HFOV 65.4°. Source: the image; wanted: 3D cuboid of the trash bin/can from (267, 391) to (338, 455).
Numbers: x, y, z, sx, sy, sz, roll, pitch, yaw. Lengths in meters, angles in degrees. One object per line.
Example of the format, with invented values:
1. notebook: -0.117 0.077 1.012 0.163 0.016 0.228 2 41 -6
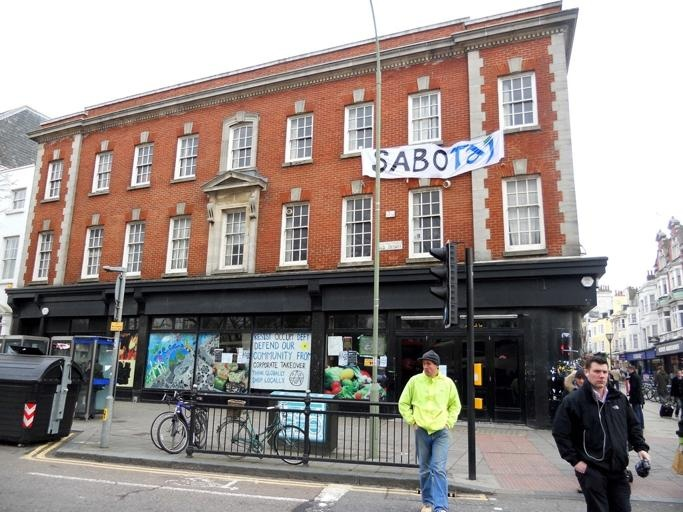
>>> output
1. trash bin/can: -0.913 3.877 12.244 1.753 1.213 0.805 -1 -1 13

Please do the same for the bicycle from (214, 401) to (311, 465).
1. bicycle: -1.884 4.090 12.267 2.427 1.164 0.906 -2 -10 18

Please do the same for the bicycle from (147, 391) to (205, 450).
1. bicycle: -4.032 4.012 13.032 0.842 1.086 2.085 -8 -7 -46

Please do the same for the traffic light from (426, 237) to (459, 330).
1. traffic light: 2.213 0.576 11.517 0.550 1.820 0.675 -3 -15 12

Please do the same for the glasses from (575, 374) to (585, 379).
1. glasses: 4.906 2.471 10.974 0.130 0.101 0.094 5 -13 23
